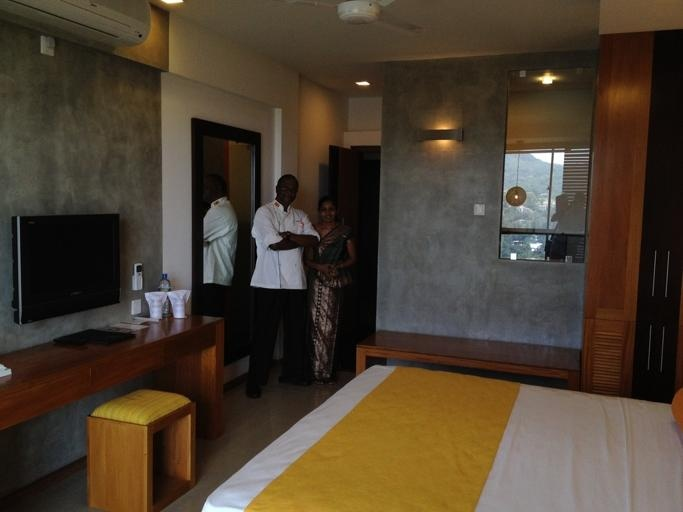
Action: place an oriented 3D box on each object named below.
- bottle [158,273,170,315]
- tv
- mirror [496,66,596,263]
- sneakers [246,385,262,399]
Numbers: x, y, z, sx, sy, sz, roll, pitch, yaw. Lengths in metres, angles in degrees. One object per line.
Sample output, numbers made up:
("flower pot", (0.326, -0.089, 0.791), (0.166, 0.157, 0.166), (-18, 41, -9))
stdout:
("bottle", (-1.336, 0.281, 4.146), (0.083, 0.289, 0.286), (-1, 13, -18))
("tv", (-1.757, 0.072, 3.441), (0.129, 0.625, 0.684), (1, 5, 24))
("mirror", (1.716, -0.711, 4.771), (0.817, 1.906, 0.078), (1, -9, 34))
("sneakers", (-0.798, 1.221, 4.936), (0.081, 0.126, 0.126), (1, -10, -6))
